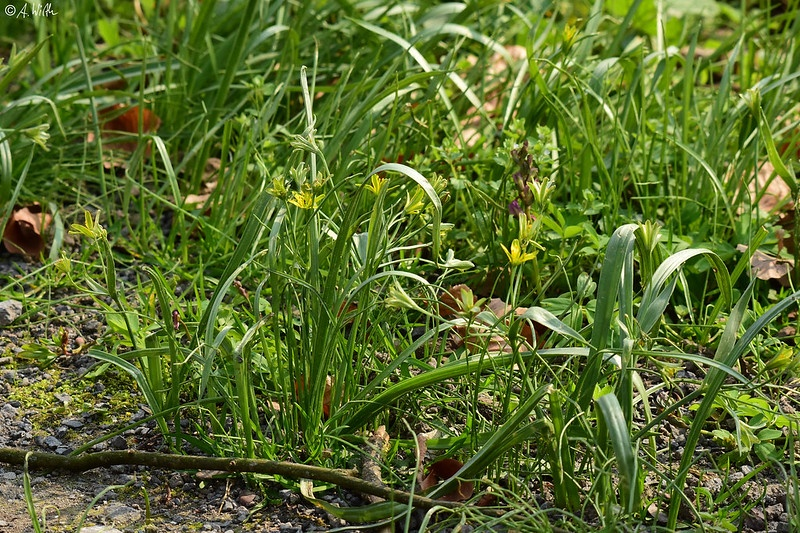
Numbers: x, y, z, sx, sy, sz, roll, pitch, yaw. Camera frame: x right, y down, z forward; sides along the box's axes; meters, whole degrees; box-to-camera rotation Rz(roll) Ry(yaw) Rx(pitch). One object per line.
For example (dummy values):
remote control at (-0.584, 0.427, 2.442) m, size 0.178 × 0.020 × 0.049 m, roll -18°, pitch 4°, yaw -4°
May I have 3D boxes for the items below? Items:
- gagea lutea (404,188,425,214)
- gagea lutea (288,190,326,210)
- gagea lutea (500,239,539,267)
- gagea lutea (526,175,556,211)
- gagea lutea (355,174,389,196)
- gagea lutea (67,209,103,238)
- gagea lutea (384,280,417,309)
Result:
gagea lutea at (0.037, -0.186, 2.114) m, size 0.053 × 0.032 × 0.064 m, roll 20°, pitch 37°, yaw -52°
gagea lutea at (-0.242, -0.175, 2.068) m, size 0.059 × 0.035 × 0.065 m, roll 2°, pitch 30°, yaw 17°
gagea lutea at (0.304, -0.033, 1.989) m, size 0.080 × 0.065 × 0.090 m, roll 29°, pitch 4°, yaw 17°
gagea lutea at (0.385, -0.200, 2.129) m, size 0.085 × 0.099 × 0.080 m, roll -3°, pitch 6°, yaw -26°
gagea lutea at (-0.065, -0.207, 2.122) m, size 0.072 × 0.041 × 0.082 m, roll -16°, pitch 18°, yaw 1°
gagea lutea at (-0.993, -0.134, 2.468) m, size 0.090 × 0.045 × 0.102 m, roll 8°, pitch 65°, yaw 44°
gagea lutea at (0.005, 0.070, 1.978) m, size 0.082 × 0.048 × 0.062 m, roll 31°, pitch 74°, yaw 9°
